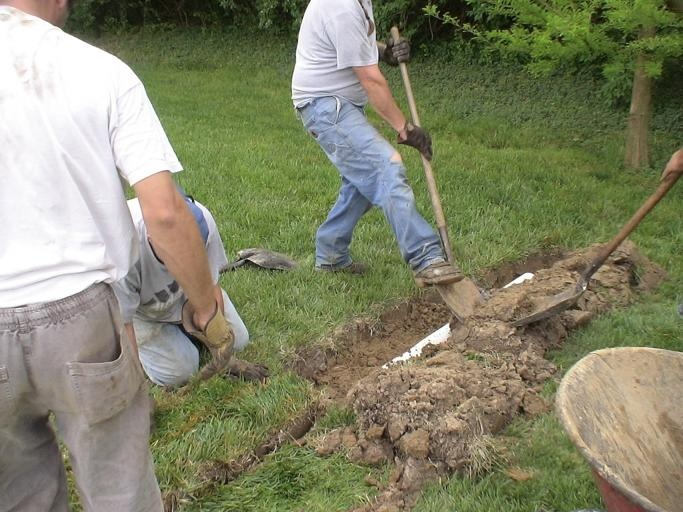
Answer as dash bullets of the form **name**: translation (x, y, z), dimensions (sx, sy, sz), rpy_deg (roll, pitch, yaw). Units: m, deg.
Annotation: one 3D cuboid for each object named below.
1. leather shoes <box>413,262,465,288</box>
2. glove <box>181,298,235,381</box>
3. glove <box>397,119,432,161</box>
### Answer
- **leather shoes**: translation (0.776, 0.164, 5.516), dimensions (0.329, 0.171, 0.175), rpy_deg (-12, -9, 36)
- **glove**: translation (-0.890, 0.559, 4.577), dimensions (0.346, 0.510, 0.338), rpy_deg (-10, 60, 8)
- **glove**: translation (0.623, -1.002, 5.916), dimensions (0.107, 0.325, 0.232), rpy_deg (-11, 56, 45)
